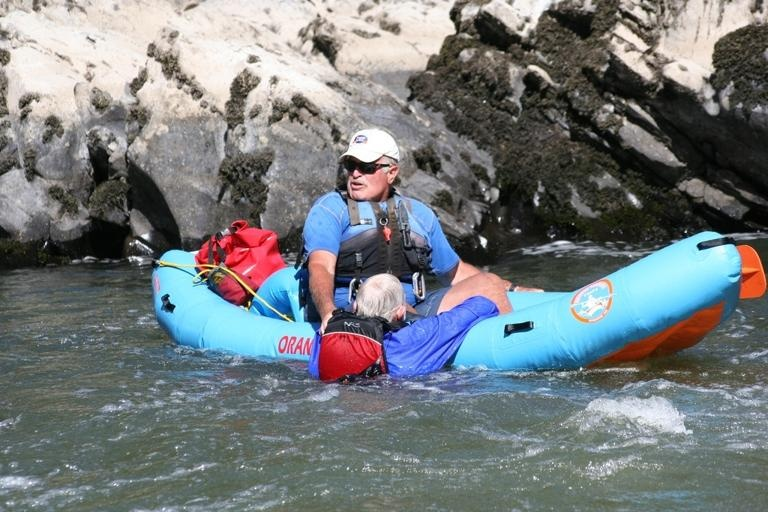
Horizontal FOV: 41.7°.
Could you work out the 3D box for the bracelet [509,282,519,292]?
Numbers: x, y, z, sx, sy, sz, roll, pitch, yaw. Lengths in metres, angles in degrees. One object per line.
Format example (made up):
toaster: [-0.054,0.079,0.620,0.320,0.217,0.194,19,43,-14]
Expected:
bracelet: [1.588,0.418,12.278,0.113,0.082,0.144,2,19,22]

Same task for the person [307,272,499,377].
person: [0.224,0.875,11.393,1.188,0.694,1.575,11,19,39]

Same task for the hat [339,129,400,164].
hat: [-0.084,-1.290,12.025,0.422,0.309,0.578,-1,-9,43]

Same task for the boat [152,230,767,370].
boat: [0.885,0.682,11.841,5.845,1.166,2.769,-2,-1,18]

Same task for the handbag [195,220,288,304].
handbag: [-1.882,0.257,13.326,0.914,1.135,0.532,-42,-16,-14]
